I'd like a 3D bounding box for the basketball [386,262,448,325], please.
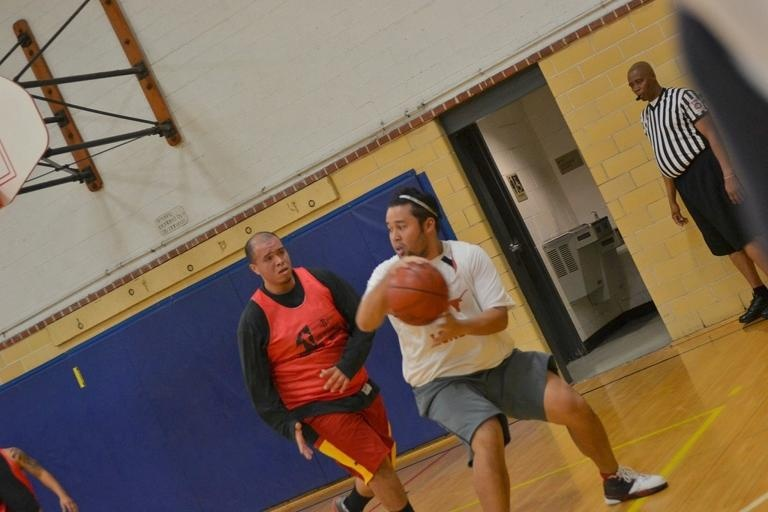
[{"bbox_3d":[0.246,0.307,6.025,0.446,0.497,0.461,1,6,-4],"label":"basketball"}]
